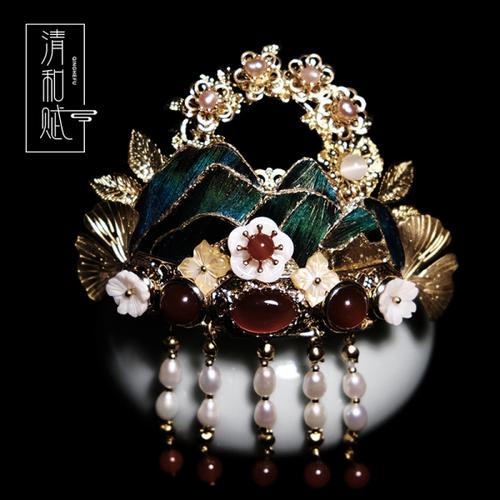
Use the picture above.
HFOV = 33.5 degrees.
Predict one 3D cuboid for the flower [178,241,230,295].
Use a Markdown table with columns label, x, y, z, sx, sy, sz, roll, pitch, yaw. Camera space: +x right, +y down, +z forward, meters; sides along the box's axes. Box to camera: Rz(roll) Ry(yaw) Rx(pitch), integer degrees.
| label | x | y | z | sx | sy | sz | roll | pitch | yaw |
| --- | --- | --- | --- | --- | --- | --- | --- | --- | --- |
| flower | -0.084 | 0.037 | 1.617 | 0.090 | 0.095 | 0.065 | -26 | -46 | 27 |

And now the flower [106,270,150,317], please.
| label | x | y | z | sx | sy | sz | roll | pitch | yaw |
| --- | --- | --- | --- | --- | --- | --- | --- | --- | --- |
| flower | -0.234 | 0.086 | 1.615 | 0.076 | 0.066 | 0.071 | -32 | -48 | 32 |

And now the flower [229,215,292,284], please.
| label | x | y | z | sx | sy | sz | roll | pitch | yaw |
| --- | --- | --- | --- | --- | --- | --- | --- | --- | --- |
| flower | 0.022 | 0.002 | 1.576 | 0.121 | 0.104 | 0.075 | -2 | -40 | 1 |

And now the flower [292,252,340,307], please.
| label | x | y | z | sx | sy | sz | roll | pitch | yaw |
| --- | --- | --- | --- | --- | --- | --- | --- | --- | --- |
| flower | 0.127 | 0.055 | 1.602 | 0.067 | 0.093 | 0.063 | -24 | -45 | 25 |

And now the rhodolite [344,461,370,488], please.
| label | x | y | z | sx | sy | sz | roll | pitch | yaw |
| --- | --- | --- | --- | --- | --- | --- | --- | --- | --- |
| rhodolite | 0.208 | 0.431 | 1.585 | 0.049 | 0.055 | 0.031 | 0 | -41 | -1 |

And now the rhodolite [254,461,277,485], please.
| label | x | y | z | sx | sy | sz | roll | pitch | yaw |
| --- | --- | --- | --- | --- | --- | --- | --- | --- | --- |
| rhodolite | 0.030 | 0.420 | 1.563 | 0.046 | 0.042 | 0.028 | -2 | -40 | 1 |

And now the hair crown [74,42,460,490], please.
| label | x | y | z | sx | sy | sz | roll | pitch | yaw |
| --- | --- | --- | --- | --- | --- | --- | --- | --- | --- |
| hair crown | 0.034 | 0.036 | 1.670 | 0.736 | 0.789 | 0.531 | -11 | -41 | 12 |

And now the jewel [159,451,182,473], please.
| label | x | y | z | sx | sy | sz | roll | pitch | yaw |
| --- | --- | --- | --- | --- | --- | --- | --- | --- | --- |
| jewel | -0.151 | 0.408 | 1.598 | 0.039 | 0.042 | 0.028 | 23 | -46 | -26 |

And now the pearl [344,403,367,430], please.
| label | x | y | z | sx | sy | sz | roll | pitch | yaw |
| --- | --- | --- | --- | --- | --- | --- | --- | --- | --- |
| pearl | 0.207 | 0.323 | 1.601 | 0.054 | 0.056 | 0.049 | -1 | -2 | 6 |

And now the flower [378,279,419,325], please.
| label | x | y | z | sx | sy | sz | roll | pitch | yaw |
| --- | --- | --- | --- | --- | --- | --- | --- | --- | --- |
| flower | 0.294 | 0.101 | 1.631 | 0.086 | 0.072 | 0.067 | 11 | -41 | -14 |

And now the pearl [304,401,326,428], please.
| label | x | y | z | sx | sy | sz | roll | pitch | yaw |
| --- | --- | --- | --- | --- | --- | --- | --- | --- | --- |
| pearl | 0.127 | 0.318 | 1.587 | 0.041 | 0.045 | 0.039 | 13 | -42 | -16 |

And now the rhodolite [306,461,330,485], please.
| label | x | y | z | sx | sy | sz | roll | pitch | yaw |
| --- | --- | --- | --- | --- | --- | --- | --- | --- | --- |
| rhodolite | 0.122 | 0.424 | 1.570 | 0.045 | 0.039 | 0.055 | -1 | -29 | 1 |

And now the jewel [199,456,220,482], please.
| label | x | y | z | sx | sy | sz | roll | pitch | yaw |
| --- | --- | --- | --- | --- | --- | --- | --- | --- | --- |
| jewel | -0.078 | 0.416 | 1.574 | 0.039 | 0.047 | 0.035 | -2 | -62 | -10 |

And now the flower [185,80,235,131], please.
| label | x | y | z | sx | sy | sz | roll | pitch | yaw |
| --- | --- | --- | --- | --- | --- | --- | --- | --- | --- |
| flower | -0.070 | -0.309 | 1.733 | 0.052 | 0.151 | 0.137 | 28 | -77 | 5 |
